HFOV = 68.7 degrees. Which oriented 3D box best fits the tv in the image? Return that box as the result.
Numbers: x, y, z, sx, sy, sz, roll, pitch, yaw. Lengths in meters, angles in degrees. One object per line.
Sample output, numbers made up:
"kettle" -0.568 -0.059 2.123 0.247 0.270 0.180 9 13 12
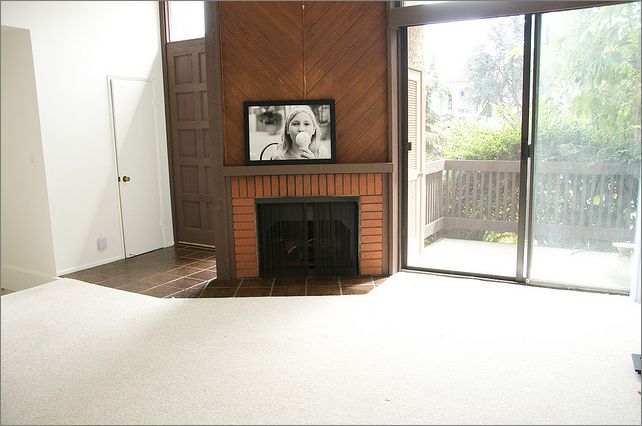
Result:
"tv" -0.349 -0.954 5.433 0.762 0.537 0.056 -1 4 2
